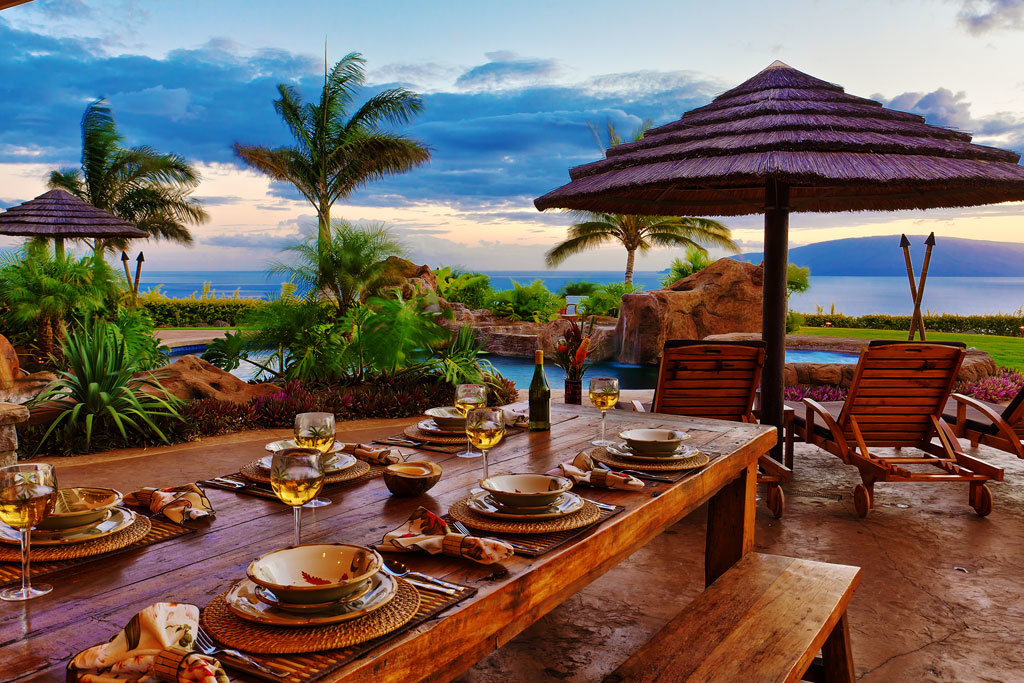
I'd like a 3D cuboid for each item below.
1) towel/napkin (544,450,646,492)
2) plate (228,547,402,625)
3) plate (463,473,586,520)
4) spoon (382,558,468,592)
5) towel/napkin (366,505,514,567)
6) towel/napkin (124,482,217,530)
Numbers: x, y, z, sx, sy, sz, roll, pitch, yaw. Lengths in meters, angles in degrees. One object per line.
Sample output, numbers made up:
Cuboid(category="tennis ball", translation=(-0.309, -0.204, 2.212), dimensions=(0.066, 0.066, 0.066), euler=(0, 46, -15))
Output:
Cuboid(category="towel/napkin", translation=(0.327, 0.535, 2.218), dimensions=(0.274, 0.083, 0.123), euler=(-1, -13, 32))
Cuboid(category="plate", translation=(-0.456, 0.595, 1.364), dimensions=(0.361, 0.103, 0.244), euler=(3, 6, 9))
Cuboid(category="plate", translation=(0.028, 0.539, 1.894), dimensions=(0.200, 0.037, 0.191), euler=(-4, 6, -41))
Cuboid(category="spoon", translation=(-0.228, 0.638, 1.481), dimensions=(0.069, 0.030, 0.246), euler=(0, 3, -43))
Cuboid(category="towel/napkin", translation=(-0.165, 0.581, 1.659), dimensions=(0.361, 0.088, 0.194), euler=(4, 6, 16))
Cuboid(category="towel/napkin", translation=(-1.065, 0.556, 1.900), dimensions=(0.192, 0.051, 0.167), euler=(10, 4, 30))
